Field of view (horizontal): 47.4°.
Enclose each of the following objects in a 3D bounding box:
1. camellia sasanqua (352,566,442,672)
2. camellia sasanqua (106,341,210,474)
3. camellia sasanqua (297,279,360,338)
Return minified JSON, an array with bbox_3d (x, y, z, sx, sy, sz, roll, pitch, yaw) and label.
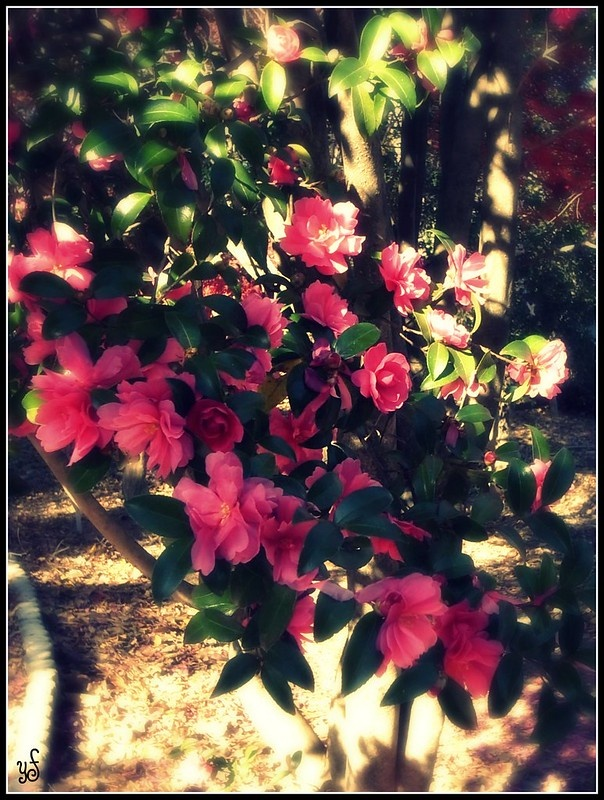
[{"bbox_3d":[0.180,0.406,1.255,0.134,0.180,0.140,31,45,34],"label":"camellia sasanqua"},{"bbox_3d":[-0.251,0.042,1.177,0.155,0.155,0.153,13,37,16],"label":"camellia sasanqua"},{"bbox_3d":[0.052,-0.181,1.427,0.118,0.070,0.112,20,58,-33],"label":"camellia sasanqua"}]
